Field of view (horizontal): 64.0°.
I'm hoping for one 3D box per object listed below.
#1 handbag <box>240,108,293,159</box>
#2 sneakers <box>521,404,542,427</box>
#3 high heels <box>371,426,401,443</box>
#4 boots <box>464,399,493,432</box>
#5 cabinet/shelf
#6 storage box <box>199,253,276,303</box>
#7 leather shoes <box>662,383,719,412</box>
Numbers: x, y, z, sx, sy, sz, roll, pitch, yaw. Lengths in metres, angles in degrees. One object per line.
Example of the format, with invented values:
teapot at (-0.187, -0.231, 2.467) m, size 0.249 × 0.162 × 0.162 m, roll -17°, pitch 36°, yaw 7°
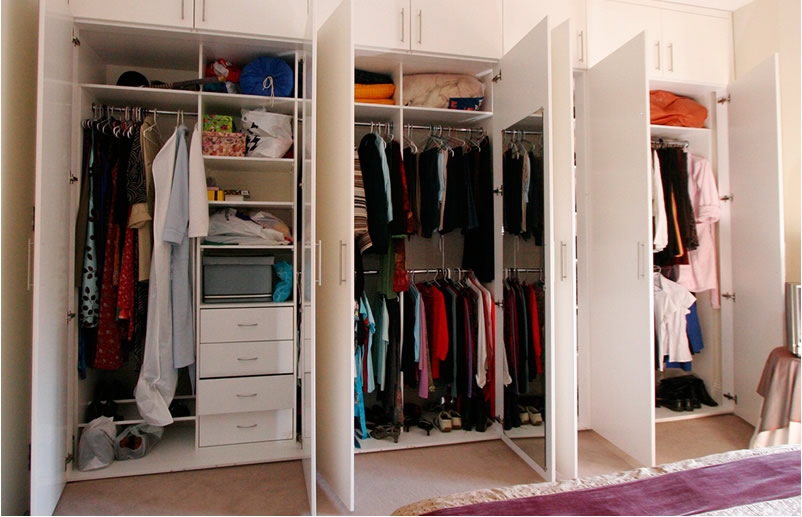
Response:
handbag at (-1.065, -0.974, 5.095) m, size 0.400 × 0.385 × 0.194 m, roll 8°, pitch 30°, yaw -3°
sneakers at (0.969, 1.180, 4.801) m, size 0.080 × 0.080 × 0.185 m, roll -4°, pitch 5°, yaw -11°
high heels at (-0.113, 1.403, 5.155) m, size 0.197 × 0.072 × 0.110 m, roll 6°, pitch 34°, yaw 15°
boots at (0.623, 1.291, 5.237) m, size 0.263 × 0.305 × 0.168 m, roll 2°, pitch 4°, yaw 21°
cabinet/shelf at (-0.118, -0.020, 4.845) m, size 3.874 × 2.621 × 1.252 m, roll -1°, pitch 0°, yaw -16°
storage box at (-1.183, 0.169, 5.289) m, size 0.748 × 0.395 × 0.762 m, roll -2°, pitch -3°, yaw 33°
leather shoes at (2.461, 1.204, 5.643) m, size 0.243 × 0.113 × 0.335 m, roll -3°, pitch 9°, yaw 5°
